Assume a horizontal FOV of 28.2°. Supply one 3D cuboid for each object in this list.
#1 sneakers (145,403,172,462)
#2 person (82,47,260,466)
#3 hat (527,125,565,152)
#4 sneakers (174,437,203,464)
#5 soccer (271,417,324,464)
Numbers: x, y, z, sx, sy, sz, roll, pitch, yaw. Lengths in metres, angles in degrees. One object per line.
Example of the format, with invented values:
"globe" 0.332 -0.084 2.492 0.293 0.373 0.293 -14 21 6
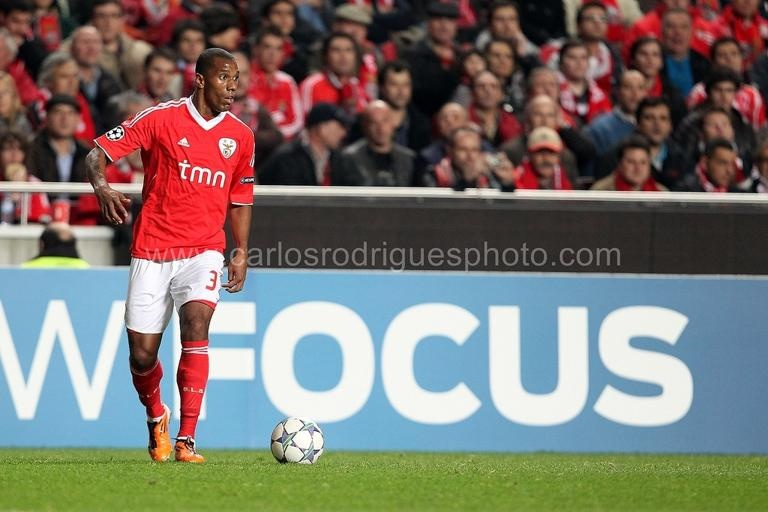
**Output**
"sneakers" -1.937 1.543 13.404 0.183 0.500 0.237 -5 5 19
"person" -1.802 -0.046 13.438 1.117 3.466 1.199 13 20 42
"hat" 1.669 -1.185 15.891 0.354 0.256 0.264 0 14 4
"sneakers" -1.680 1.659 13.154 0.240 0.217 0.179 -1 14 2
"soccer" -0.760 1.608 13.368 0.448 0.402 0.406 0 -14 -5
